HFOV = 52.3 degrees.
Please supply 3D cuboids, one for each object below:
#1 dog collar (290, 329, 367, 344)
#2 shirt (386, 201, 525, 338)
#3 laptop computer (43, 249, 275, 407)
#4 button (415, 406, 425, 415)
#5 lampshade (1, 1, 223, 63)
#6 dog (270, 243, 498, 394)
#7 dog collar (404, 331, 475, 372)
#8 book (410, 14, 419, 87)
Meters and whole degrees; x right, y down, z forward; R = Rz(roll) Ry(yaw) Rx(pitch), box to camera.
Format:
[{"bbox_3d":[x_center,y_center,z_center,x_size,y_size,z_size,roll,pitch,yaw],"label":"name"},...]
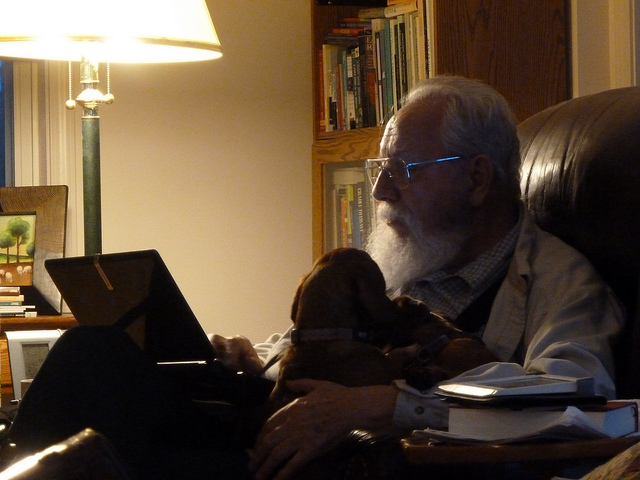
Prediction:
[{"bbox_3d":[0.016,0.206,1.400,0.167,0.037,0.038,-3,6,16],"label":"dog collar"},{"bbox_3d":[0.353,0.004,1.817,0.493,0.355,0.140,-40,45,-26],"label":"shirt"},{"bbox_3d":[-0.387,0.214,1.538,0.507,0.401,0.202,-2,6,21],"label":"laptop computer"},{"bbox_3d":[0.210,0.354,1.356,0.018,0.018,0.002,-5,5,-6],"label":"button"},{"bbox_3d":[-0.640,-0.619,1.969,0.655,0.155,0.399,-6,6,-16],"label":"lampshade"},{"bbox_3d":[0.162,0.211,1.553,0.521,0.386,0.307,-3,11,-32],"label":"dog"},{"bbox_3d":[0.264,0.242,1.437,0.214,0.053,0.046,-8,7,-39],"label":"dog collar"},{"bbox_3d":[0.377,-0.746,2.561,0.025,0.273,0.071,-5,5,-6],"label":"book"}]
